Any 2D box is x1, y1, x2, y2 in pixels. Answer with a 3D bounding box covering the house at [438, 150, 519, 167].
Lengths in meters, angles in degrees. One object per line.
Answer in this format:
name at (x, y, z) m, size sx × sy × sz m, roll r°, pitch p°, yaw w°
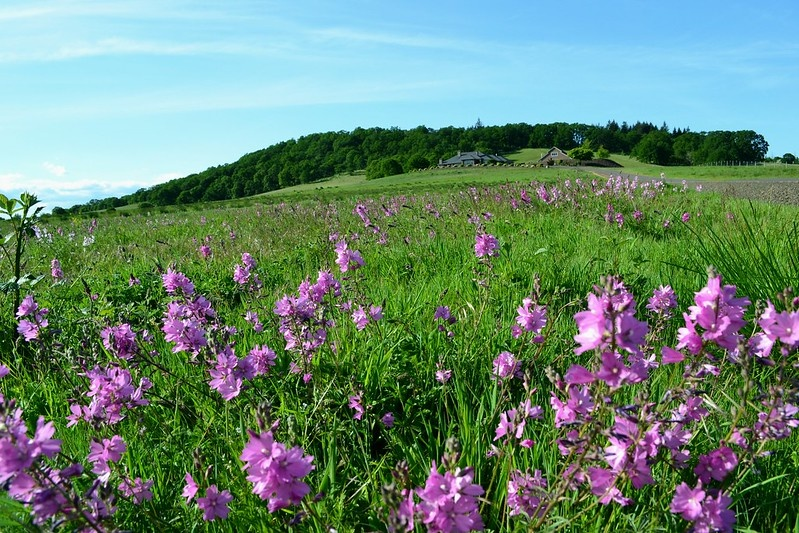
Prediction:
house at (17.216, -25.295, 136.179) m, size 10.993 × 3.976 × 27.242 m, roll -3°, pitch 7°, yaw 0°
